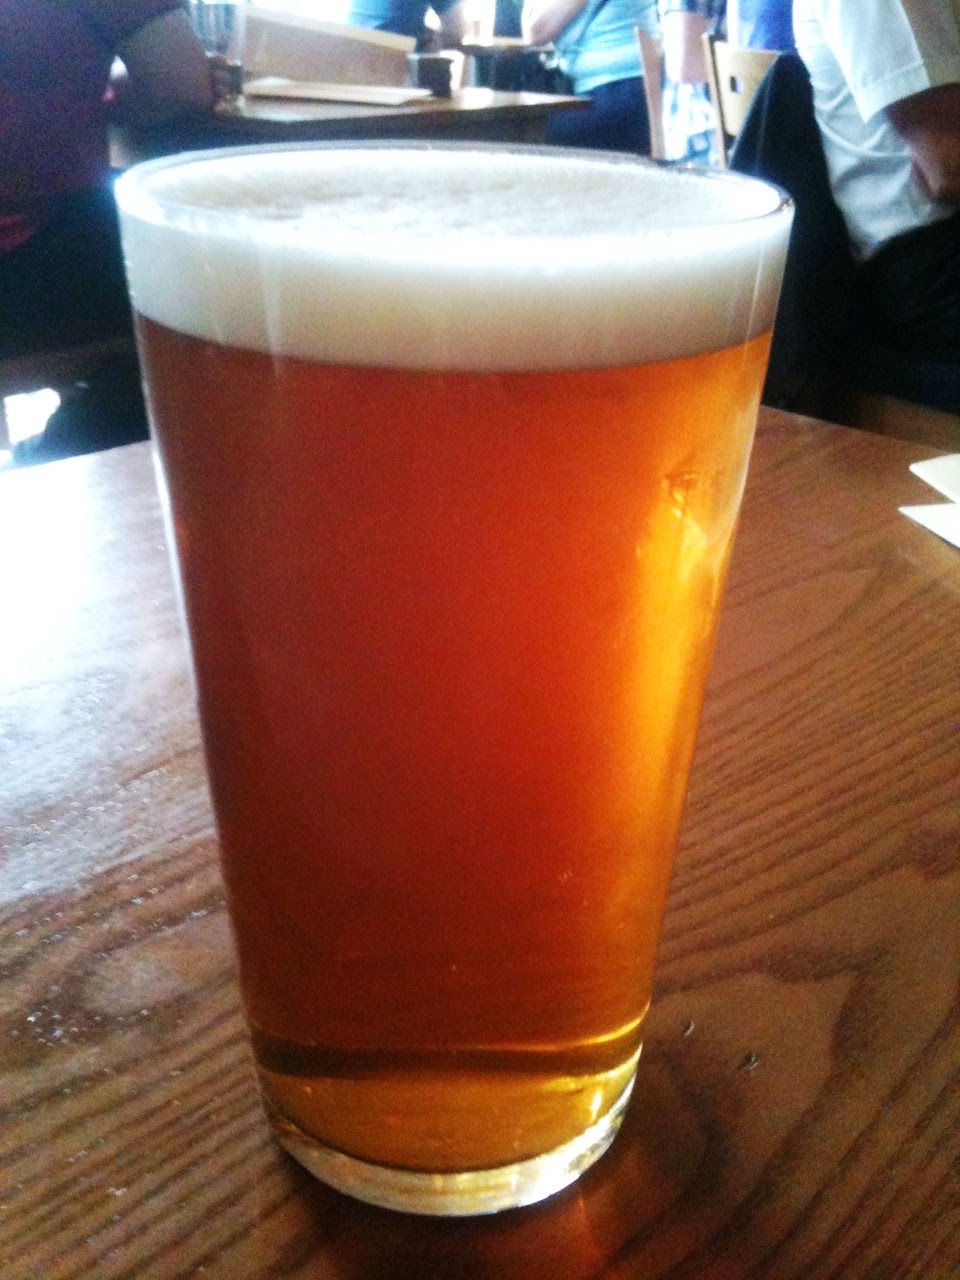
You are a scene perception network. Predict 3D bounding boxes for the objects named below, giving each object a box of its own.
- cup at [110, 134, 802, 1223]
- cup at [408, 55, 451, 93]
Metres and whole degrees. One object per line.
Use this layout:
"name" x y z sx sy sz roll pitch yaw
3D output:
"cup" -0.003 0.014 0.365 0.178 0.312 0.183 -1 31 1
"cup" -0.139 -1.532 3.082 0.110 0.113 0.121 0 18 0
